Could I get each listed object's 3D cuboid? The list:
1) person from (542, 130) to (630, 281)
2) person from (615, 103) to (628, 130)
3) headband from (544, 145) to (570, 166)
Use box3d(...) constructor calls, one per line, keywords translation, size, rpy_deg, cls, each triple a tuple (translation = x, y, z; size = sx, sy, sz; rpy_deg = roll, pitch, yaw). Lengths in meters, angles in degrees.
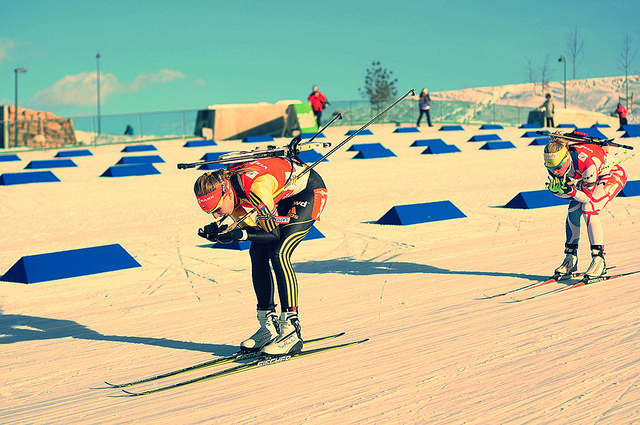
box3d(translation=(4.166, -0.110, 15.641), size=(1.193, 2.303, 0.649), rpy_deg=(-2, 7, 8), cls="person")
box3d(translation=(12.457, -4.007, 40.881), size=(0.296, 0.811, 0.793), rpy_deg=(-1, 7, 11), cls="person")
box3d(translation=(3.662, -0.829, 15.384), size=(0.278, 0.185, 0.353), rpy_deg=(-10, 24, 44), cls="headband")
